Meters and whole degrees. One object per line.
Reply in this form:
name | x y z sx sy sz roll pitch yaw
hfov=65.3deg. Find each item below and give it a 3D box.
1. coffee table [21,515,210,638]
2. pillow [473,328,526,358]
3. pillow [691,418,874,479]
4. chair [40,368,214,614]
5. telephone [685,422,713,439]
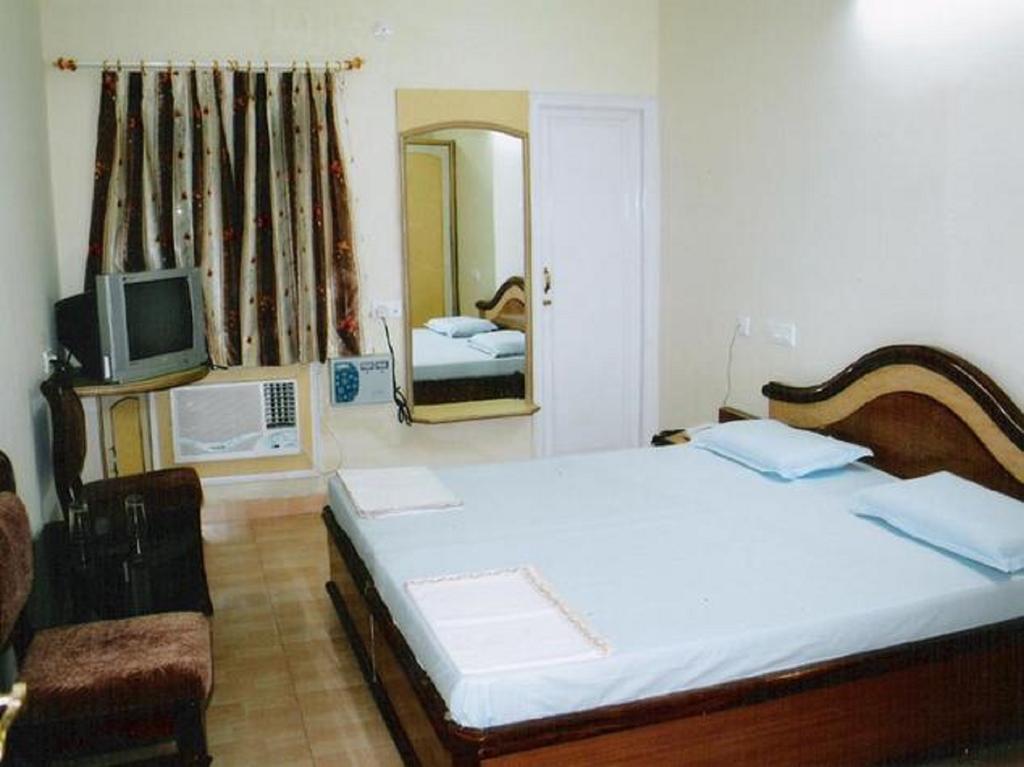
coffee table | -1.680 0.827 3.388 0.509 0.133 0.542 -2 11 -15
pillow | -0.075 -0.269 5.304 0.212 0.065 0.229 -4 22 -17
pillow | 1.223 0.312 3.875 0.310 0.091 0.497 -8 10 -21
chair | -1.886 0.516 3.852 0.677 1.167 0.774 -5 19 -18
telephone | 1.030 0.278 4.347 0.128 0.042 0.107 -22 18 -41
